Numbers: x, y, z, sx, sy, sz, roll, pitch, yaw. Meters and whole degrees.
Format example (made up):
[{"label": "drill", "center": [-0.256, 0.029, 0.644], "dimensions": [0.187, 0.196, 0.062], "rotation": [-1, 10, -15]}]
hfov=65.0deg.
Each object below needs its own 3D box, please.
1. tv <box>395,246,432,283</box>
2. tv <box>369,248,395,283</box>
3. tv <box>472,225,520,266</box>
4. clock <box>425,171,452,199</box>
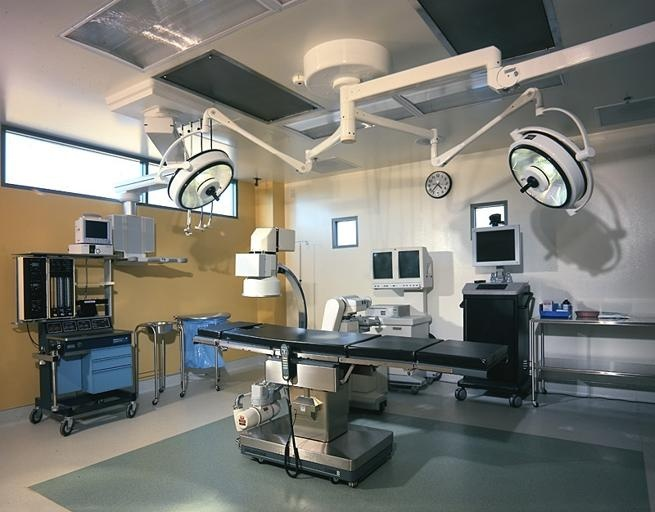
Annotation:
[{"label": "tv", "center": [1.240, 0.141, 6.900], "dimensions": [0.701, 0.511, 0.684], "rotation": [-2, -2, -3]}, {"label": "tv", "center": [0.744, 0.129, 6.901], "dimensions": [0.516, 0.660, 0.072], "rotation": [-1, 0, 39]}, {"label": "tv", "center": [2.011, -0.109, 6.156], "dimensions": [0.562, 0.462, 0.063], "rotation": [-3, -9, 30]}, {"label": "clock", "center": [1.499, -0.957, 6.887], "dimensions": [0.409, 0.400, 0.068], "rotation": [0, -3, 43]}]
